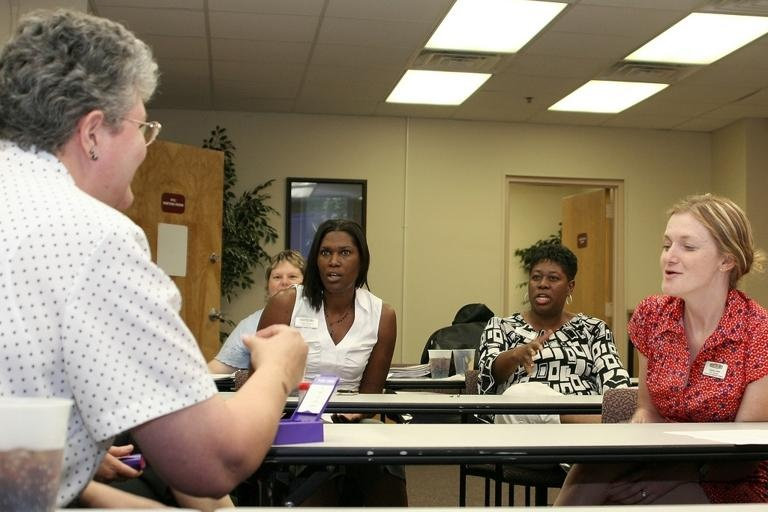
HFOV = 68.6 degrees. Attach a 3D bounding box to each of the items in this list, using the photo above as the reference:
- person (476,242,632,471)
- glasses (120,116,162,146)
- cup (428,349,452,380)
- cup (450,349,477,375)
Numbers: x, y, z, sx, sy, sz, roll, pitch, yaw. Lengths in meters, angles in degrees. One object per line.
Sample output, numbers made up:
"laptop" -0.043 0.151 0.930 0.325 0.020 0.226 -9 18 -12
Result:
"person" 0.872 0.401 2.828 0.732 1.003 0.925 3 -18 7
"glasses" -0.526 -0.275 1.217 0.079 0.028 0.076 3 4 -2
"cup" 0.329 0.639 3.328 0.149 0.142 0.145 0 -10 0
"cup" 0.485 0.651 3.473 0.146 0.146 0.145 0 -10 0
